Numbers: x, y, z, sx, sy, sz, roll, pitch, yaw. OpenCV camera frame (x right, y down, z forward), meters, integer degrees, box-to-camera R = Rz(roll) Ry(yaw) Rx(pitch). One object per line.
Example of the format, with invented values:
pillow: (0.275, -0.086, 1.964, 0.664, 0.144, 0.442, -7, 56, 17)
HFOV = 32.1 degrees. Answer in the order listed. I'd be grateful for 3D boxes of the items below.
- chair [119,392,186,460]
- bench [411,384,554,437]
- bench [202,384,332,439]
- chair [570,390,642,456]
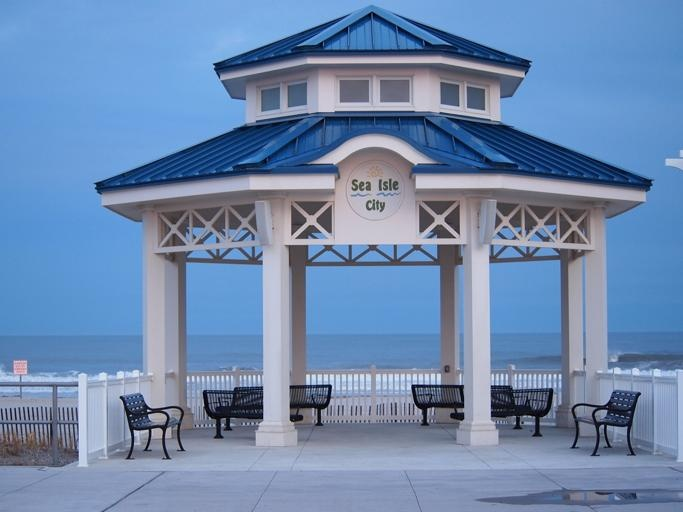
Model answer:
chair: (-4.184, 3.704, 25.711, 0.938, 1.038, 1.282, 12, -12, 6)
bench: (3.490, 3.781, 29.264, 3.414, 1.347, 2.262, -5, -7, 19)
bench: (-1.881, 3.816, 29.282, 3.245, 1.217, 1.603, 3, -8, -36)
chair: (5.793, 3.693, 26.171, 0.995, 1.421, 2.297, 3, -5, 0)
